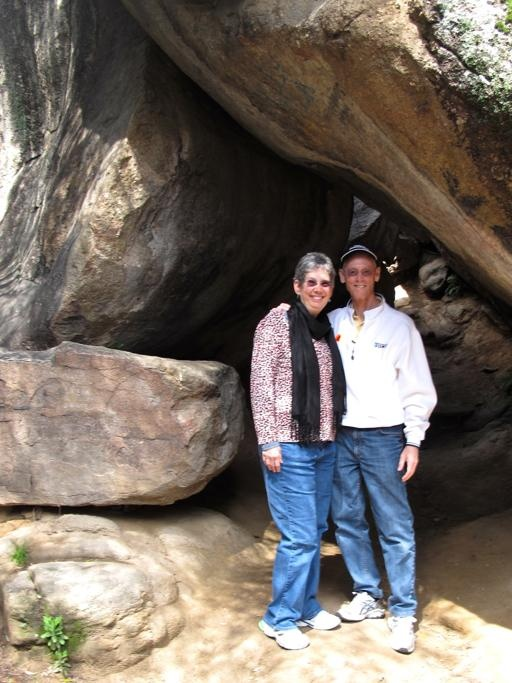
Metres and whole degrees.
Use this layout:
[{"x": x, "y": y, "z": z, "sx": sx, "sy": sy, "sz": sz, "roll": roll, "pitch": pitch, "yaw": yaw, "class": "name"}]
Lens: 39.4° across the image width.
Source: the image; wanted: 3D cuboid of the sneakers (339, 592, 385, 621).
[{"x": 0.462, "y": 1.176, "z": 3.127, "sx": 0.242, "sy": 0.091, "sz": 0.085, "roll": 7, "pitch": -24, "yaw": -19, "class": "sneakers"}]

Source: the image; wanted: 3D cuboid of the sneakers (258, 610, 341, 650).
[{"x": 0.185, "y": 1.183, "z": 2.940, "sx": 0.349, "sy": 0.127, "sz": 0.110, "roll": -11, "pitch": 27, "yaw": -28, "class": "sneakers"}]

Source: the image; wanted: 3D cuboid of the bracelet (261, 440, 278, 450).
[{"x": 0.054, "y": 0.417, "z": 2.860, "sx": 0.051, "sy": 0.027, "sz": 0.046, "roll": -4, "pitch": -5, "yaw": 16, "class": "bracelet"}]
